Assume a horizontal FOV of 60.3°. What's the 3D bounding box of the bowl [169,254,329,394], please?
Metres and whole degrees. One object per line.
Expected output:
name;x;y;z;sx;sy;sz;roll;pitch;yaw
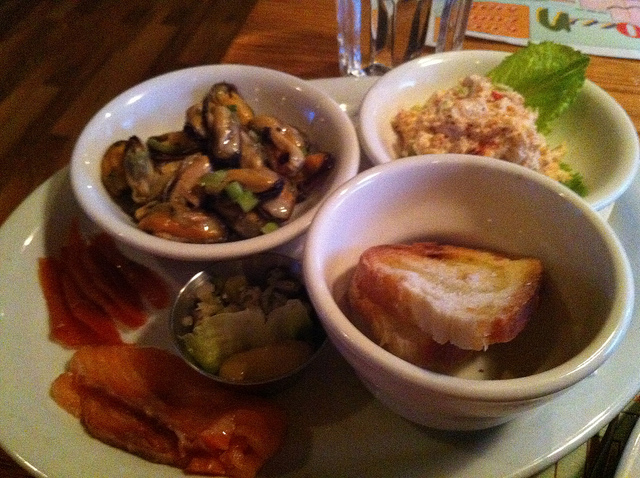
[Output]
bowl;-0.181;0.193;1.467;0.365;0.130;0.356;3;54;-3

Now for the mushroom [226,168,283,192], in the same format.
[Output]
mushroom;-0.192;-0.171;1.533;0.123;0.036;0.072;8;55;1

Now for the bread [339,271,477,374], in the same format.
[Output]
bread;0.176;0.205;1.175;0.307;0.077;0.104;24;64;15

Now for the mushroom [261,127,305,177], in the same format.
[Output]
mushroom;-0.115;-0.255;1.661;0.093;0.067;0.166;-33;68;-8

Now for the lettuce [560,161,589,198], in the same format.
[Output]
lettuce;0.715;-0.155;1.537;0.097;0.023;0.096;44;29;-5

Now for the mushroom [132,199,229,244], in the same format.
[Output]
mushroom;-0.375;-0.050;1.491;0.218;0.063;0.118;11;39;-9

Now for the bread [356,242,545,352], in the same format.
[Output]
bread;0.286;0.104;1.167;0.262;0.071;0.288;-20;52;-18

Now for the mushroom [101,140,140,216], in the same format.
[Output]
mushroom;-0.584;-0.173;1.623;0.146;0.056;0.182;0;79;-2

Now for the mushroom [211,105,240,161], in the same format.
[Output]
mushroom;-0.275;-0.302;1.604;0.084;0.055;0.149;-8;75;-6

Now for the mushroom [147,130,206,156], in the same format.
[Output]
mushroom;-0.431;-0.289;1.656;0.144;0.034;0.084;0;52;-9

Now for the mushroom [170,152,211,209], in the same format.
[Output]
mushroom;-0.361;-0.157;1.590;0.090;0.053;0.159;23;76;4

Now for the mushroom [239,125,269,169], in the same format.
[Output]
mushroom;-0.190;-0.253;1.596;0.084;0.044;0.130;5;63;-28

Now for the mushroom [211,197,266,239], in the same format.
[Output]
mushroom;-0.218;-0.058;1.552;0.149;0.089;0.040;45;38;4
